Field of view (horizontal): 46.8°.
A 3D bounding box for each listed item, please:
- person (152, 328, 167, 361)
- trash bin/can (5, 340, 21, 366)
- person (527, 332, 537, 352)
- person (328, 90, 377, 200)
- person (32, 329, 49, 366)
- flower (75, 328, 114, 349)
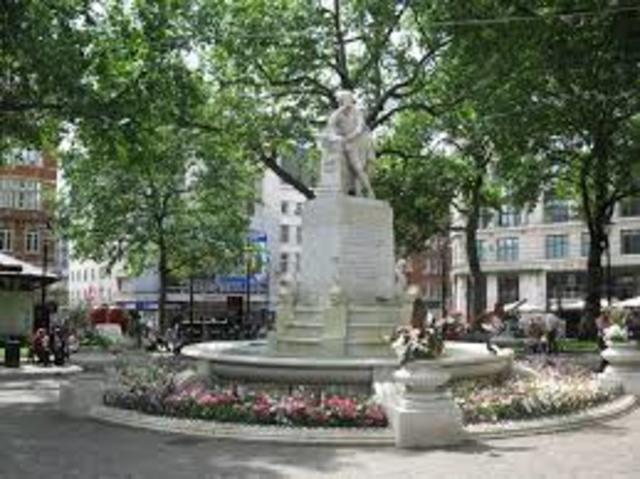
[{"bbox_3d":[-6.818,4.549,31.720,0.647,0.773,1.964,-9,24,-13],"label":"person"},{"bbox_3d":[-12.997,4.854,31.384,0.558,1.053,0.502,3,-7,-28],"label":"trash bin/can"},{"bbox_3d":[10.342,5.025,35.781,0.480,0.972,1.391,-2,-7,16],"label":"person"},{"bbox_3d":[1.044,-2.900,22.269,1.480,3.410,0.895,1,-6,-18],"label":"person"},{"bbox_3d":[-12.278,4.756,32.701,0.729,1.607,3.089,1,-7,-20],"label":"person"},{"bbox_3d":[-5.671,2.507,18.659,0.613,0.424,0.636,5,0,9],"label":"flower"}]
